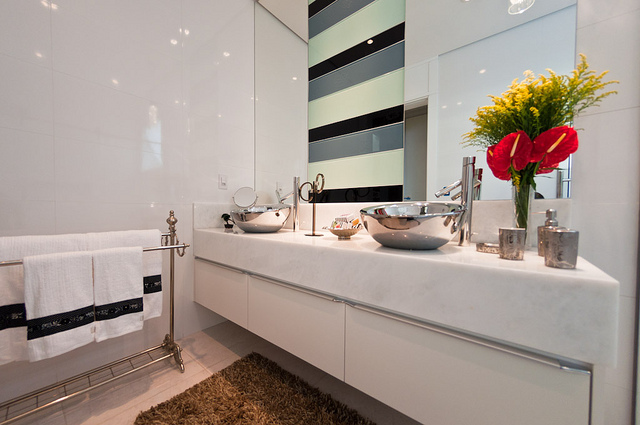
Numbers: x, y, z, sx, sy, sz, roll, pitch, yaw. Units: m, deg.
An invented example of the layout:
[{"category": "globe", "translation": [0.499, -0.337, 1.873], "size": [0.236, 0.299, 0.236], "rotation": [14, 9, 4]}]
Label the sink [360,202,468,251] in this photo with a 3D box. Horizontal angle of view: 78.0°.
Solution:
[{"category": "sink", "translation": [0.562, 0.077, 2.370], "size": [0.602, 0.263, 0.402], "rotation": [1, 4, 18]}]

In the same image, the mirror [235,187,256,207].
[{"category": "mirror", "translation": [-0.615, -0.124, 3.233], "size": [0.163, 0.150, 0.077], "rotation": [-1, 4, -12]}]

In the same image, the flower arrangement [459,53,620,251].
[{"category": "flower arrangement", "translation": [1.257, -0.285, 2.325], "size": [0.595, 0.929, 0.668], "rotation": [2, 8, -1]}]

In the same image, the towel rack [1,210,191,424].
[{"category": "towel rack", "translation": [-1.440, 0.666, 2.466], "size": [1.228, 1.024, 0.346], "rotation": [3, -9, -44]}]

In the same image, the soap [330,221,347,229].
[{"category": "soap", "translation": [0.125, 0.080, 2.606], "size": [0.111, 0.045, 0.034], "rotation": [2, 5, 32]}]

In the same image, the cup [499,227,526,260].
[{"category": "cup", "translation": [1.041, 0.165, 2.155], "size": [0.136, 0.155, 0.141], "rotation": [1, 2, 0]}]

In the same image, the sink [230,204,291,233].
[{"category": "sink", "translation": [-0.440, 0.042, 3.021], "size": [0.432, 0.202, 0.386], "rotation": [0, 4, 1]}]

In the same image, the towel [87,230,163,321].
[{"category": "towel", "translation": [-1.232, 0.394, 2.464], "size": [0.081, 0.558, 0.542], "rotation": [-9, -9, 34]}]

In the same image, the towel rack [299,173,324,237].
[{"category": "towel rack", "translation": [-0.067, -0.075, 2.940], "size": [0.179, 0.443, 0.524], "rotation": [-1, 4, -2]}]

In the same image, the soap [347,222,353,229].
[{"category": "soap", "translation": [0.195, 0.083, 2.590], "size": [0.036, 0.039, 0.032], "rotation": [-1, 4, -3]}]

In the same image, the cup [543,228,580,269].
[{"category": "cup", "translation": [1.224, 0.178, 2.023], "size": [0.146, 0.193, 0.120], "rotation": [1, 4, 16]}]
